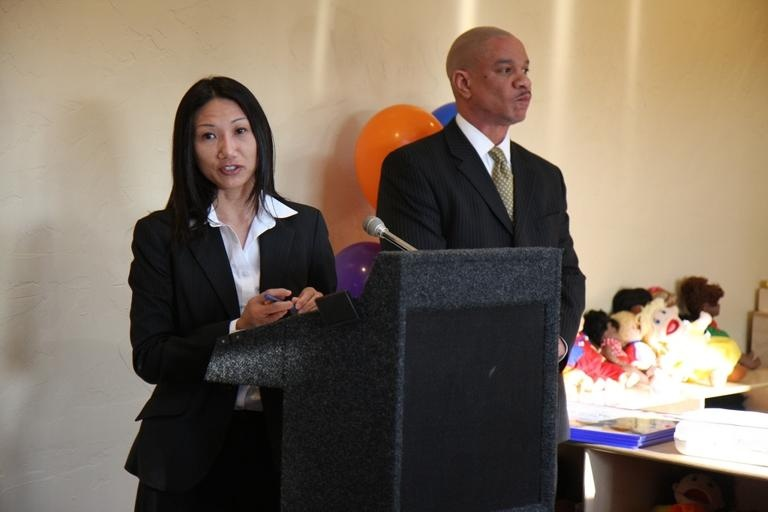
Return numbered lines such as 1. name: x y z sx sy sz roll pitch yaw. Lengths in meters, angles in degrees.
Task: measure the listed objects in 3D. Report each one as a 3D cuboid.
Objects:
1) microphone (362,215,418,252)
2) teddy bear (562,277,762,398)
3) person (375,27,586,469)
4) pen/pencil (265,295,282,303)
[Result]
1. microphone: 0.025 -0.070 1.878 0.058 0.062 0.223 -10 31 -39
2. teddy bear: 1.449 0.437 3.322 0.782 0.395 0.678 14 11 31
3. person: 0.327 -0.273 2.161 0.682 1.090 0.435 1 5 19
4. pen/pencil: -0.263 0.099 1.488 0.032 0.009 0.018 18 -15 42
